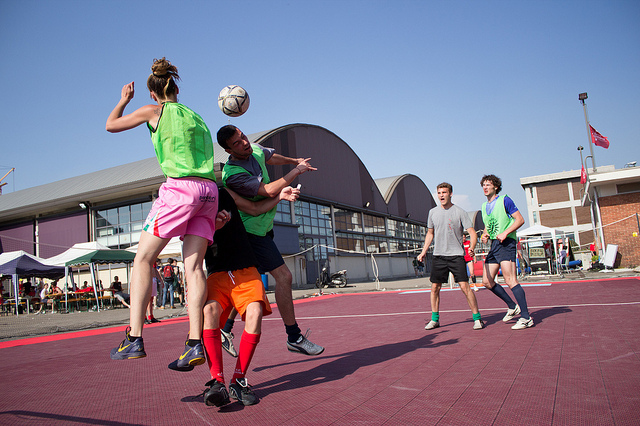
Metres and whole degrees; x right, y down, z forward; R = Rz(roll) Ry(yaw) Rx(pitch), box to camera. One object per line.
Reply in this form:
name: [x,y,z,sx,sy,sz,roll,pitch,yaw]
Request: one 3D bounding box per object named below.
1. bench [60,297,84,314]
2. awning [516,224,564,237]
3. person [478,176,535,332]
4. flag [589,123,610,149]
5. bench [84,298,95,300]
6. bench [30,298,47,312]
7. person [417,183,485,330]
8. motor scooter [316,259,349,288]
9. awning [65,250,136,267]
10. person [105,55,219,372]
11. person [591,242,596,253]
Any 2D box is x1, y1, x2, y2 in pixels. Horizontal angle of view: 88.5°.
bench: [-14.240,5.333,18.747,1.346,0.885,1.725,0,-2,-34]
awning: [14.317,1.154,21.559,1.964,0.818,9.765,-10,-9,32]
person: [3.131,0.613,5.670,0.666,2.636,1.043,-6,-8,10]
flag: [18.464,-5.174,21.751,0.755,2.036,2.902,-12,-10,40]
bench: [-12.360,4.679,17.659,0.329,0.126,1.399,-1,-9,-29]
bench: [-16.795,5.532,19.533,0.699,0.865,3.070,2,-10,-41]
person: [2.218,0.708,5.655,0.923,2.442,0.534,-8,-9,24]
motor scooter: [0.941,4.787,23.869,2.037,1.811,1.270,1,-12,11]
awning: [-10.831,2.245,16.528,2.638,0.660,1.328,2,-10,-43]
person: [-1.247,-0.009,2.698,0.833,2.707,0.622,0,-9,-32]
person: [20.363,2.695,24.459,0.211,0.661,1.380,-11,-10,39]
